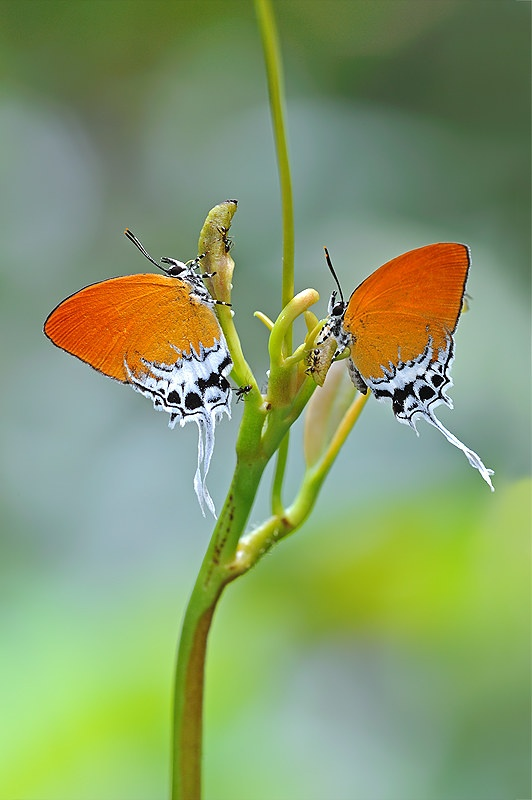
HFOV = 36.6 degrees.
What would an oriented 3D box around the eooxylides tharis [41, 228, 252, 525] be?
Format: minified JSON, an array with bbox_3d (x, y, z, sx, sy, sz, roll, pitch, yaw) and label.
[{"bbox_3d":[-0.076,-0.017,0.509,0.124,0.171,0.063,1,-7,-23],"label":"eooxylides tharis"}]
